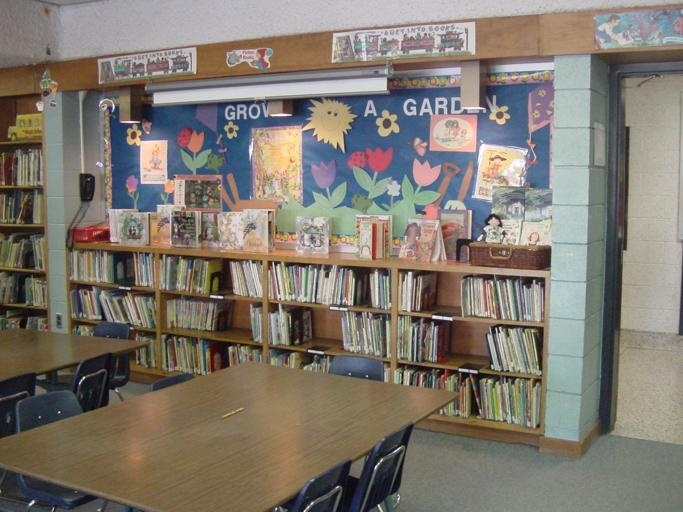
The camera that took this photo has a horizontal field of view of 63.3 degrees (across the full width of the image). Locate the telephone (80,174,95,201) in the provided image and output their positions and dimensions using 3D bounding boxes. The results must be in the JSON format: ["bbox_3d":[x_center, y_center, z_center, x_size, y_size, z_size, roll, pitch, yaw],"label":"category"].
[{"bbox_3d":[-2.999,-0.806,6.551,0.192,0.336,0.131,-6,10,-42],"label":"telephone"}]
